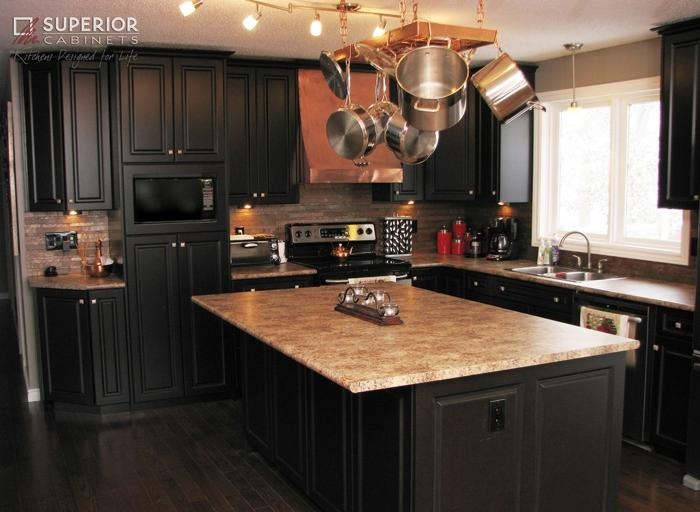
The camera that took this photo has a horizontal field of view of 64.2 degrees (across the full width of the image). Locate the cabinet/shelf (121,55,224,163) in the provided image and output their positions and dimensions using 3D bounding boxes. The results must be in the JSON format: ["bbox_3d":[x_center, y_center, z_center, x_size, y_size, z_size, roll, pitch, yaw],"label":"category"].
[{"bbox_3d":[-1.591,-1.307,4.857,1.180,0.909,0.584,-1,4,-22],"label":"cabinet/shelf"}]

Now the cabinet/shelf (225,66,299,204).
[{"bbox_3d":[-0.840,-1.184,5.424,0.715,1.311,0.218,-3,12,-12],"label":"cabinet/shelf"}]

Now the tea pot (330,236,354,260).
[{"bbox_3d":[-0.088,-0.102,6.054,0.226,0.226,0.271,-1,10,-9],"label":"tea pot"}]

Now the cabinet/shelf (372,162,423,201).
[{"bbox_3d":[0.574,-0.740,6.112,0.648,0.501,0.419,-1,2,-17],"label":"cabinet/shelf"}]

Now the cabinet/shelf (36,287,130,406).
[{"bbox_3d":[-2.347,0.781,4.899,0.786,1.034,0.215,2,11,10],"label":"cabinet/shelf"}]

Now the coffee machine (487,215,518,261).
[{"bbox_3d":[1.677,-0.199,6.100,0.338,0.450,0.278,1,11,5],"label":"coffee machine"}]

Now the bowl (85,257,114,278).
[{"bbox_3d":[-2.280,0.105,5.111,0.220,0.109,0.237,0,-1,0],"label":"bowl"}]

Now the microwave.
[{"bbox_3d":[-1.565,-0.522,4.976,0.906,0.439,0.424,-1,3,-23],"label":"microwave"}]

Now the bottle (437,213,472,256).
[{"bbox_3d":[1.231,-0.243,6.598,0.471,0.408,0.394,-3,10,-15],"label":"bottle"}]

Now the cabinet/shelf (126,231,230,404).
[{"bbox_3d":[-1.525,0.543,5.024,0.888,1.496,0.300,-3,12,-11],"label":"cabinet/shelf"}]

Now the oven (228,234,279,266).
[{"bbox_3d":[-0.937,-0.065,5.524,0.496,0.298,0.202,-2,11,-12],"label":"oven"}]
